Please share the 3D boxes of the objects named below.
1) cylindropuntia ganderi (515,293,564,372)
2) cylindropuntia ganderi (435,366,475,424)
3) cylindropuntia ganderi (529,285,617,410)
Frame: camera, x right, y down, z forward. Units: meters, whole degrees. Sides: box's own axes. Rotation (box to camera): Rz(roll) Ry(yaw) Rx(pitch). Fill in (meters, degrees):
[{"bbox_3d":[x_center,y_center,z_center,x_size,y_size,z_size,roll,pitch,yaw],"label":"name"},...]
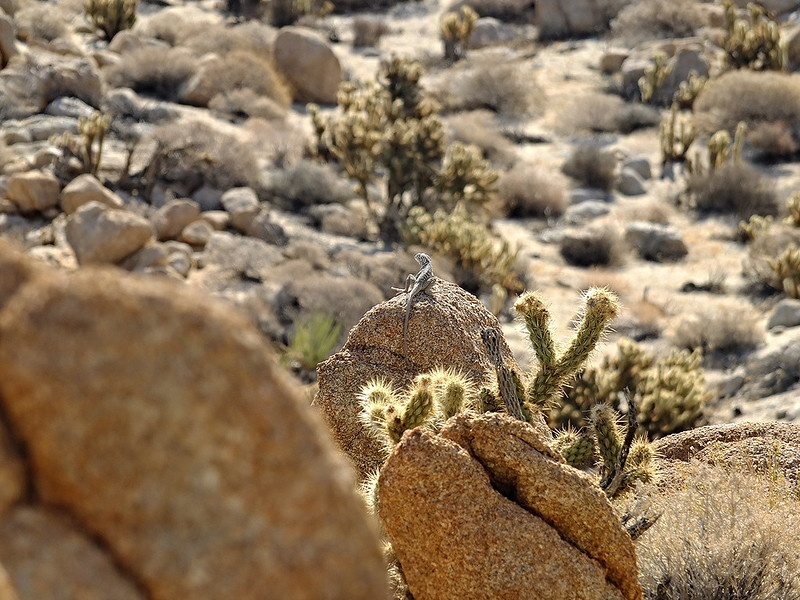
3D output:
[{"bbox_3d":[2.140,0.409,27.251,0.491,1.255,0.538,-11,22,-13],"label":"cylindropuntia ganderi"},{"bbox_3d":[0.964,1.460,27.163,0.532,0.596,0.704,23,82,17],"label":"cylindropuntia ganderi"},{"bbox_3d":[2.680,0.702,27.242,0.938,2.079,1.026,2,16,21],"label":"cylindropuntia ganderi"}]
